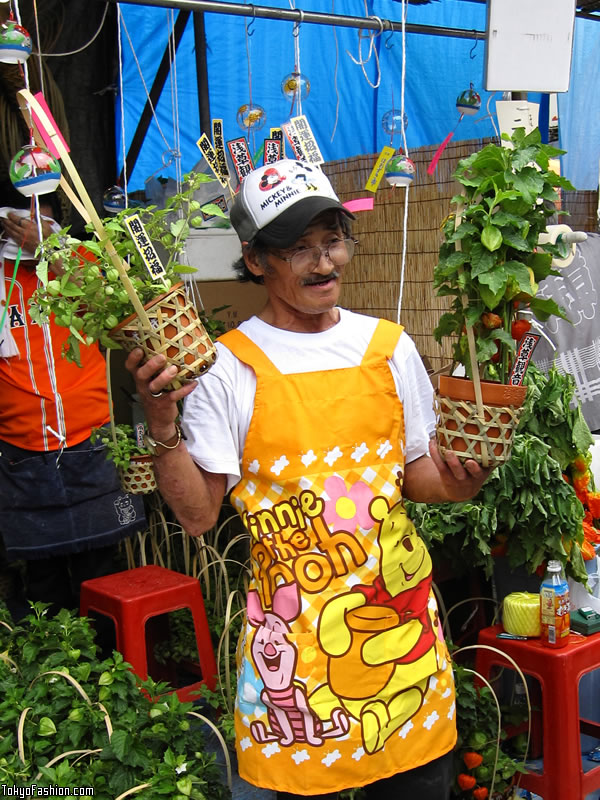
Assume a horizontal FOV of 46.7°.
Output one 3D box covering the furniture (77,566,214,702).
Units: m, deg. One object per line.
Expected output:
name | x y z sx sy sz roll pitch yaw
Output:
furniture | -0.564 0.878 2.481 0.402 0.318 0.388 8 -35 -26

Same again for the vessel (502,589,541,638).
vessel | 0.679 0.661 2.151 0.125 0.094 0.117 -1 -7 10

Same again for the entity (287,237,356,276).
entity | 0.052 -0.270 1.296 0.067 0.073 0.160 -2 3 43

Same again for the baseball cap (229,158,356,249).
baseball cap | -0.029 -0.354 1.325 0.173 0.110 0.224 -21 14 -24

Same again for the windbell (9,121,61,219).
windbell | -0.591 -0.526 1.548 0.106 0.122 0.109 -15 26 -21

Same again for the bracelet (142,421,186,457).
bracelet | -0.222 0.066 1.186 0.073 0.047 0.074 -12 -12 -19

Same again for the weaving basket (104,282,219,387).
weaving basket | -0.212 -0.100 1.075 0.156 0.158 0.111 -5 3 -7

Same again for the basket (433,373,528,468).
basket | 0.288 0.038 1.201 0.129 0.120 0.143 14 8 41

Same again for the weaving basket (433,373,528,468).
weaving basket | 0.292 0.034 1.211 0.158 0.129 0.154 13 5 4

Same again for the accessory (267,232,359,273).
accessory | 0.036 -0.265 1.258 0.099 0.027 0.095 -10 -15 -34

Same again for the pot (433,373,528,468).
pot | 0.314 0.043 1.191 0.149 0.125 0.139 6 5 -1

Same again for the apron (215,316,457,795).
apron | 0.068 0.297 1.308 0.438 0.899 0.238 -5 3 -7

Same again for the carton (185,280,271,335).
carton | -0.375 -0.549 3.804 0.506 0.403 0.112 -2 2 -27
